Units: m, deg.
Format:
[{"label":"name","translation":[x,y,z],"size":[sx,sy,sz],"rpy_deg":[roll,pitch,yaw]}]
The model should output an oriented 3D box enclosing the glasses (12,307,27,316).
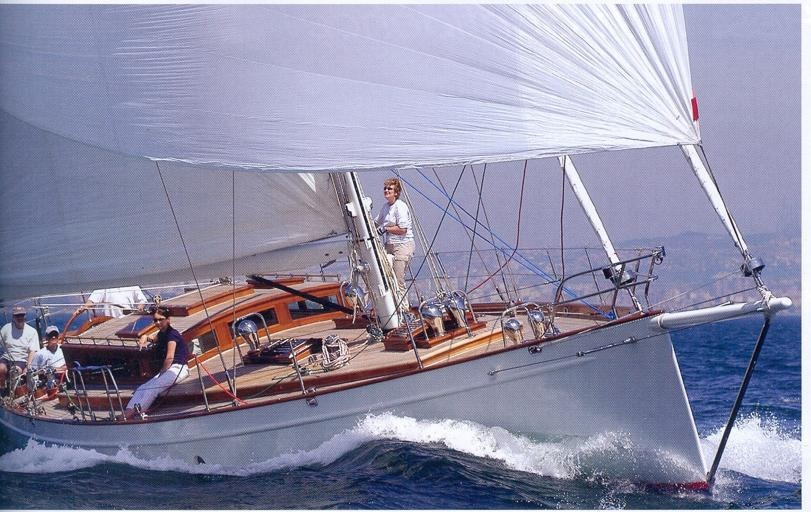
[{"label":"glasses","translation":[-4.709,0.659,8.438],"size":[0.140,0.064,0.193],"rpy_deg":[-1,2,-20]}]
